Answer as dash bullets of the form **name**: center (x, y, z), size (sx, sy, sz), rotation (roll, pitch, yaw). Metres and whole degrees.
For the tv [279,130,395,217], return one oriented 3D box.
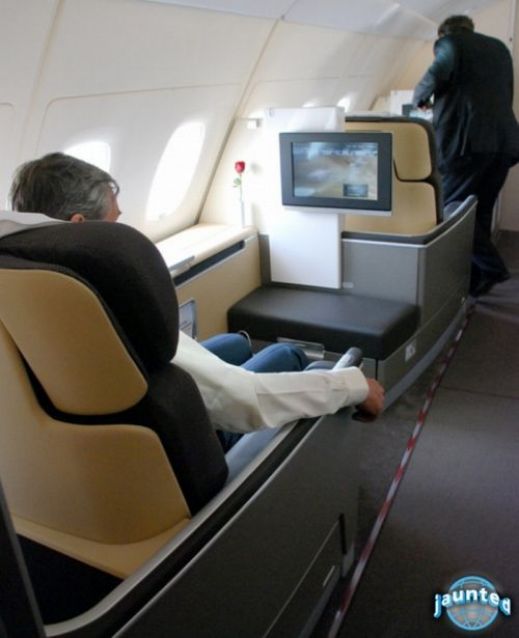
- **tv**: center (0.399, -0.758, 2.596), size (0.473, 0.340, 0.064), rotation (6, 28, 21)
